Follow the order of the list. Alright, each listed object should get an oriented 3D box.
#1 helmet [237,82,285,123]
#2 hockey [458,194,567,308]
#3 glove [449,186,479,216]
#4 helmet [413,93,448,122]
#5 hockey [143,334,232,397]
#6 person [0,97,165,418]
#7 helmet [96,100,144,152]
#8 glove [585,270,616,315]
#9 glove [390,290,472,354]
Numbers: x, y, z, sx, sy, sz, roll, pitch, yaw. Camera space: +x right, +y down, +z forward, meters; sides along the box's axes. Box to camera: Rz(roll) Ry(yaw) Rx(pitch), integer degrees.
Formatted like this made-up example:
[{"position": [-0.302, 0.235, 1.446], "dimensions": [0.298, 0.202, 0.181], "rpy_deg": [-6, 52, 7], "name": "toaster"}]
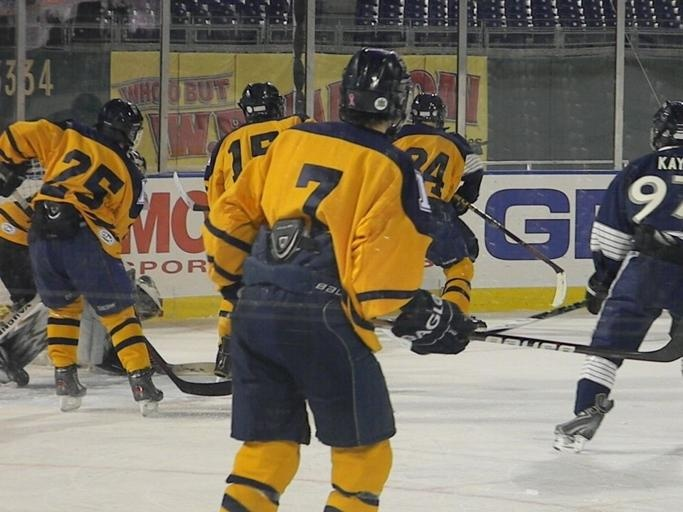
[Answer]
[{"position": [-0.398, -0.811, 6.689], "dimensions": [0.241, 0.223, 0.279], "rpy_deg": [-7, 13, -38], "name": "helmet"}, {"position": [1.098, -0.032, 6.569], "dimensions": [0.367, 0.107, 1.049], "rpy_deg": [-18, -25, 11], "name": "hockey"}, {"position": [0.701, -0.324, 7.087], "dimensions": [0.172, 0.153, 0.043], "rpy_deg": [-34, -20, 14], "name": "glove"}, {"position": [0.506, -0.857, 7.081], "dimensions": [0.185, 0.141, 0.214], "rpy_deg": [2, 4, 12], "name": "helmet"}, {"position": [-0.817, 0.571, 6.374], "dimensions": [0.433, 0.209, 0.245], "rpy_deg": [8, 31, 25], "name": "hockey"}, {"position": [-1.276, -0.016, 6.302], "dimensions": [0.642, 1.550, 0.867], "rpy_deg": [-3, 12, -27], "name": "person"}, {"position": [-1.177, -0.694, 6.426], "dimensions": [0.286, 0.218, 0.195], "rpy_deg": [9, 6, -26], "name": "helmet"}, {"position": [1.259, 0.173, 6.100], "dimensions": [0.105, 0.107, 0.268], "rpy_deg": [9, 34, 17], "name": "glove"}, {"position": [0.358, 0.250, 5.210], "dimensions": [0.363, 0.143, 0.405], "rpy_deg": [33, 2, -11], "name": "glove"}]
